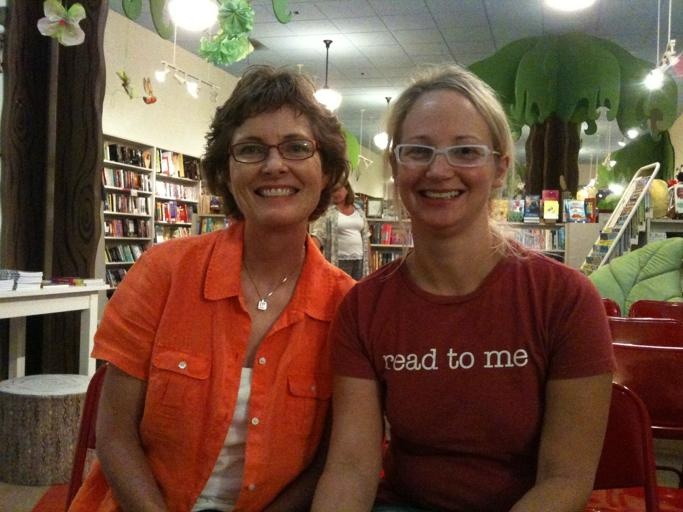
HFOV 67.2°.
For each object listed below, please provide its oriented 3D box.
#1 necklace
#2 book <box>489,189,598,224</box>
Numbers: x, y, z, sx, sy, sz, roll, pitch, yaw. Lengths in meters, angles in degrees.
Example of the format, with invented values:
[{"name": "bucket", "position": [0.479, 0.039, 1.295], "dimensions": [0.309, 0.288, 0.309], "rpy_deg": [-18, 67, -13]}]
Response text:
[{"name": "necklace", "position": [-0.254, 0.064, 1.771], "dimensions": [0.129, 0.223, 0.057], "rpy_deg": [3, 5, 0]}, {"name": "book", "position": [2.640, -0.613, 6.517], "dimensions": [0.900, 0.231, 0.846], "rpy_deg": [1, -2, 9]}]
